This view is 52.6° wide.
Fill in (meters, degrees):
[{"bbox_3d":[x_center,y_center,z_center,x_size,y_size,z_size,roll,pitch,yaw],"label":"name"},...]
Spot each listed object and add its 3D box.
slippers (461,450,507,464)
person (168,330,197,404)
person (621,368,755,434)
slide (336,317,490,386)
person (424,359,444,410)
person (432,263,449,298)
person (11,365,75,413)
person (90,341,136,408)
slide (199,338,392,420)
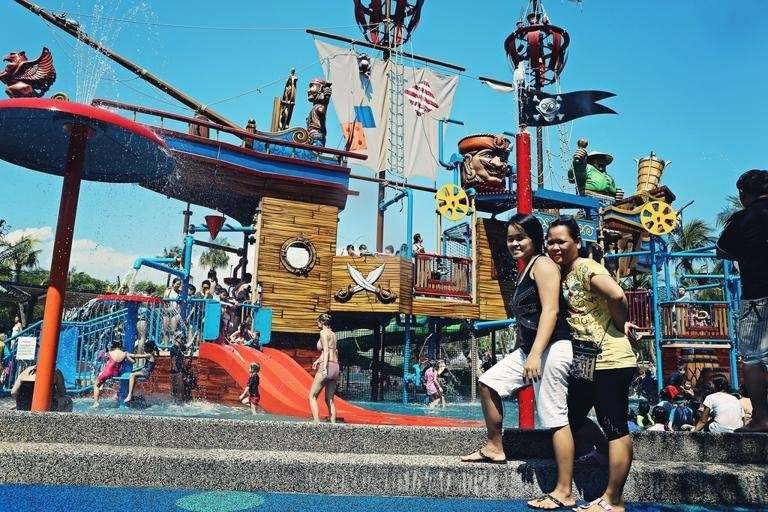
[{"bbox_3d":[1.288,2.634,10.040,0.561,0.157,0.217,6,-32,7],"label":"slippers"},{"bbox_3d":[-4.712,2.580,18.098,0.400,1.608,0.754,-2,-11,34],"label":"person"},{"bbox_3d":[5.309,2.530,13.166,1.045,1.155,2.088,2,-18,11],"label":"person"},{"bbox_3d":[0.925,3.623,30.305,4.648,1.895,4.325,0,-7,-8],"label":"slide"},{"bbox_3d":[1.516,3.815,23.253,0.592,1.337,1.634,3,-9,4],"label":"person"},{"bbox_3d":[1.718,0.620,23.253,0.454,1.086,1.054,0,-10,23],"label":"person"},{"bbox_3d":[-5.864,2.268,13.412,0.879,1.069,0.674,8,17,-18],"label":"person"},{"bbox_3d":[-5.951,2.586,17.136,0.749,1.426,0.587,9,-10,-28],"label":"person"},{"bbox_3d":[-2.259,2.946,17.986,5.985,2.443,1.687,-14,-19,40],"label":"slide"}]
